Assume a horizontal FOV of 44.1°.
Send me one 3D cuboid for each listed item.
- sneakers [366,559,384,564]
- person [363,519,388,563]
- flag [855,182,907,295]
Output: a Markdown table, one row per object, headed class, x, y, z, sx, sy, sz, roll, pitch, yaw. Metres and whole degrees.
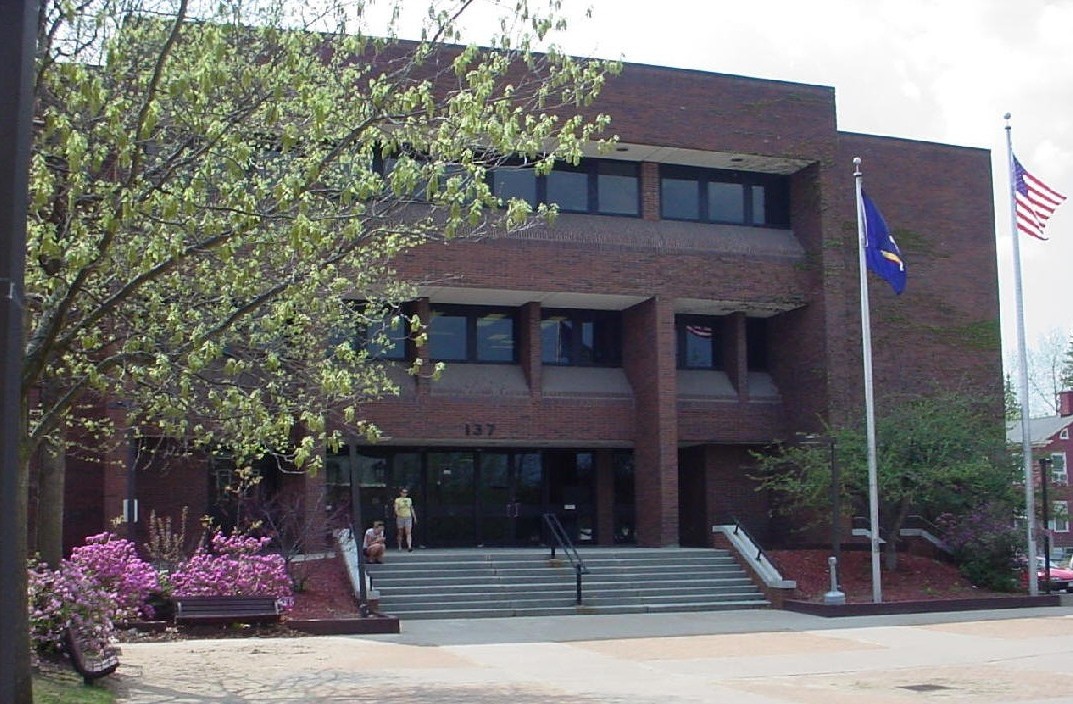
| class | x | y | z | sx | sy | sz | roll | pitch | yaw |
| --- | --- | --- | --- | --- | --- | --- | --- | --- | --- |
| sneakers | -4.215 | 5.426 | 34.536 | 0.365 | 0.131 | 0.120 | -3 | -6 | 1 |
| person | -4.247 | 4.915 | 34.696 | 0.565 | 1.082 | 0.962 | 3 | 4 | -8 |
| flag | 9.257 | -2.958 | 35.715 | 1.309 | 2.674 | 0.874 | 4 | 5 | 11 |
